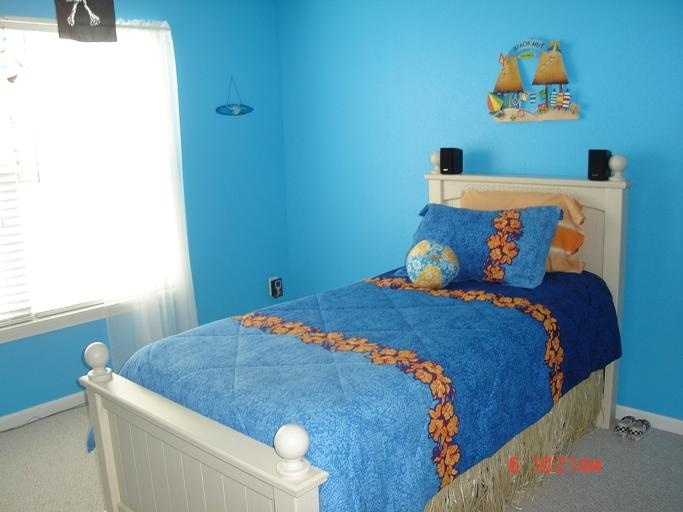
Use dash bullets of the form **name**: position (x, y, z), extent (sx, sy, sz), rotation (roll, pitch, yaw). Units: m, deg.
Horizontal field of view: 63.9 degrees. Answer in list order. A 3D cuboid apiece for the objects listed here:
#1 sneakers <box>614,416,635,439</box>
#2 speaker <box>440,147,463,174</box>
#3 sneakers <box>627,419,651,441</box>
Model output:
- **sneakers**: position (1.554, 0.928, 3.008), extent (0.061, 0.061, 0.153), rotation (5, 30, 38)
- **speaker**: position (0.690, -0.600, 3.445), extent (0.095, 0.155, 0.169), rotation (-1, 0, 43)
- **sneakers**: position (1.631, 0.938, 2.996), extent (0.066, 0.059, 0.147), rotation (7, 16, 42)
